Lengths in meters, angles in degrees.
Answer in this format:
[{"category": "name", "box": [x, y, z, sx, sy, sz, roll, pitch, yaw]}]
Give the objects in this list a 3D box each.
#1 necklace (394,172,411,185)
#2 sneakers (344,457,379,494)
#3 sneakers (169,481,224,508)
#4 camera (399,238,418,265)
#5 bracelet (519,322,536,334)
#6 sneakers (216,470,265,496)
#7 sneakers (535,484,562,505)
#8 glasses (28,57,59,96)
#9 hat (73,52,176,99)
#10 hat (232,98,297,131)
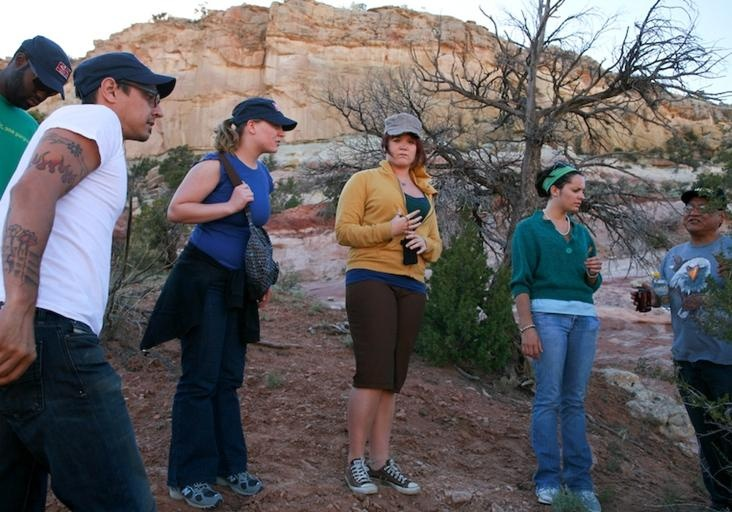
[{"category": "necklace", "box": [0.281, -0.590, 4.540, 0.106, 0.087, 0.040, 9, -18, -43]}, {"category": "sneakers", "box": [-0.034, 1.568, 4.158, 0.121, 0.181, 0.369, 2, -12, -15]}, {"category": "sneakers", "box": [-1.121, 1.595, 3.954, 0.360, 0.187, 0.150, 2, -1, 15]}, {"category": "camera", "box": [0.318, -0.034, 4.250, 0.111, 0.187, 0.042, -5, 3, -17]}, {"category": "bracelet", "box": [1.296, 0.572, 4.746, 0.093, 0.095, 0.146, 7, 9, -22]}, {"category": "sneakers", "box": [-0.894, 1.596, 4.213, 0.341, 0.162, 0.141, 0, 0, 18]}, {"category": "sneakers", "box": [1.409, 1.852, 4.533, 0.156, 0.093, 0.125, 14, 9, 20]}, {"category": "glasses", "box": [-1.989, -1.158, 3.689, 0.112, 0.224, 0.147, -35, -5, 19]}, {"category": "hat", "box": [-1.441, -1.052, 3.430, 0.553, 0.271, 0.352, -13, 9, -22]}, {"category": "hat", "box": [-0.776, -1.066, 4.406, 0.475, 0.262, 0.307, -5, 3, -8]}]
